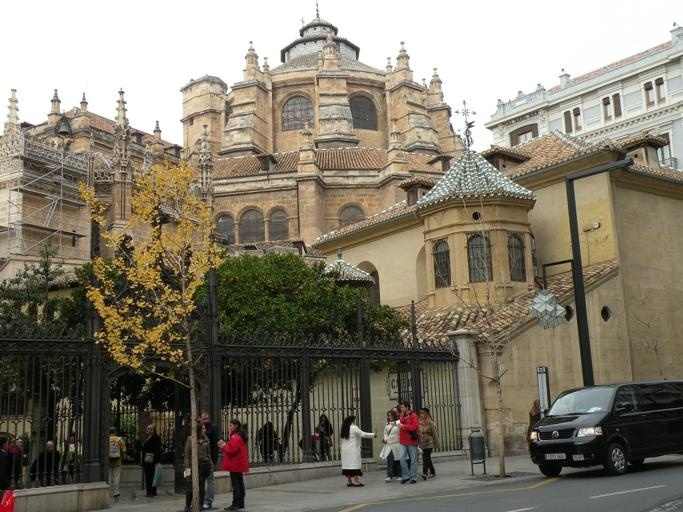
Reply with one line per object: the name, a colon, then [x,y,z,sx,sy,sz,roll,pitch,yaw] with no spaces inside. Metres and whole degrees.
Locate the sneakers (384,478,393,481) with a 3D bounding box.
sneakers: [1.195,5.805,21.972,0.162,0.123,0.150,-4,-17,1]

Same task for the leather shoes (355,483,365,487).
leather shoes: [0.448,5.727,21.178,0.177,0.091,0.365,-9,-18,18]

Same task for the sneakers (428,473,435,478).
sneakers: [2.387,5.801,22.370,0.167,0.130,0.263,-5,-17,4]

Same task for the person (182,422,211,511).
person: [-3.189,4.591,18.460,0.587,1.852,1.155,0,-18,-10]

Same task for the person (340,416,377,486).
person: [0.291,4.927,21.378,0.636,1.749,0.392,-1,-18,-8]

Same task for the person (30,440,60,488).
person: [-6.902,4.775,19.913,0.396,0.319,1.121,1,18,-25]

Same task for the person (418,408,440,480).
person: [2.317,5.012,22.650,0.470,1.906,0.871,-5,-18,4]

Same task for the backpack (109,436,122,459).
backpack: [-6.384,5.374,23.644,0.265,0.671,1.045,1,-18,-13]

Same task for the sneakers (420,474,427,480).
sneakers: [2.154,5.787,22.140,0.155,0.150,0.349,-5,-17,4]

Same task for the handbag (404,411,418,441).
handbag: [1.767,4.385,21.710,0.363,0.740,0.199,-1,-18,-9]

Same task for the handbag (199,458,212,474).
handbag: [-3.002,4.629,18.447,0.327,0.339,0.086,14,-25,-43]

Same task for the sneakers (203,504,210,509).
sneakers: [-3.067,5.586,18.854,0.126,0.060,0.172,4,-20,-14]
